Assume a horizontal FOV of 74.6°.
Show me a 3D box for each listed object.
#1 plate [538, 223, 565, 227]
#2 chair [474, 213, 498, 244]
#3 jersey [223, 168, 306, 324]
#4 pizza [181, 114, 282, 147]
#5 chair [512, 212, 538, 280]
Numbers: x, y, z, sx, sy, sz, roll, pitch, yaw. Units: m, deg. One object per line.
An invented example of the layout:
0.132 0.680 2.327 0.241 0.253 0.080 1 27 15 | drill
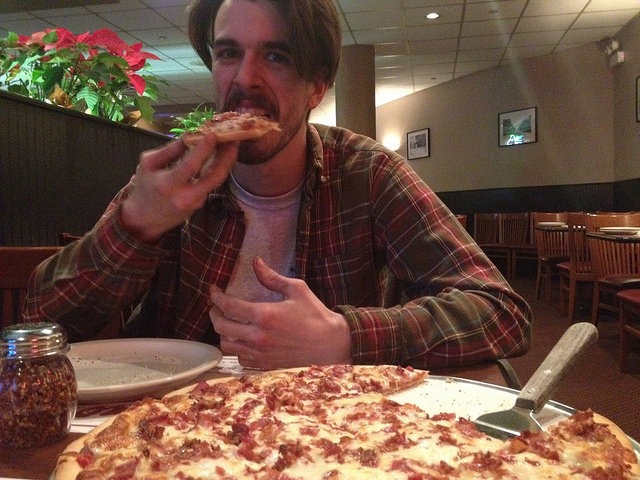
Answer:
3.023 -0.198 5.513 0.290 0.017 0.627 4 8 33 | plate
3.263 -0.236 8.259 0.422 0.795 0.561 -1 -3 18 | chair
-0.178 -0.020 1.332 0.248 0.394 0.154 -1 7 -3 | jersey
-0.222 -0.273 1.039 0.149 0.039 0.162 -3 16 6 | pizza
3.578 0.046 7.401 0.520 1.010 0.585 -5 4 21 | chair
